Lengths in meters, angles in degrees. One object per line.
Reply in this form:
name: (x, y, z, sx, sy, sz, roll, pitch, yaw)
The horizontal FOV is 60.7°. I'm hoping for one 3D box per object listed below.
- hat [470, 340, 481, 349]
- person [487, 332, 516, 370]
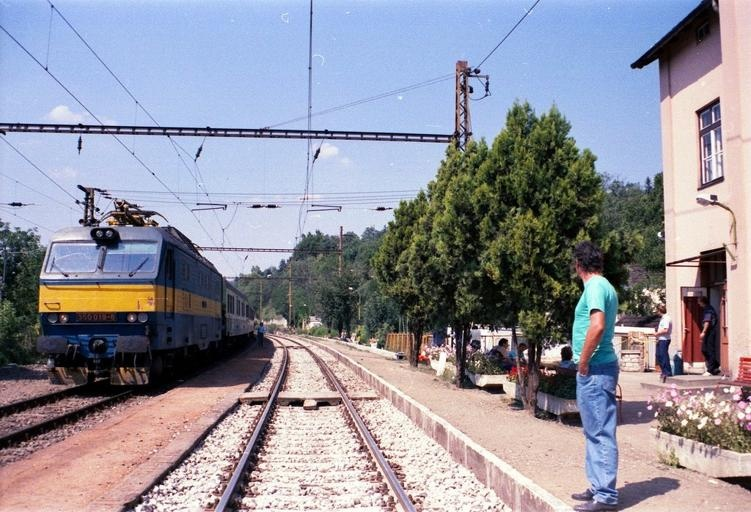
hat: (3.282, 2.898, 21.028, 0.290, 0.198, 0.309, -1, 0, 22)
person: (3.737, 2.928, 18.466, 0.781, 1.213, 0.747, 1, 12, 9)
